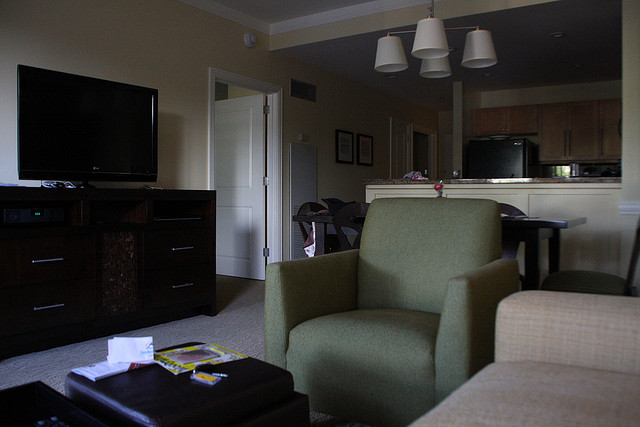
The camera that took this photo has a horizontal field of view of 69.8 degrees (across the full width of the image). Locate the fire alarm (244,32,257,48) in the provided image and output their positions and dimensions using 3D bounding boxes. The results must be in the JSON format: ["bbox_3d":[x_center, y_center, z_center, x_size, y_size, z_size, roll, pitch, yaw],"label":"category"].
[{"bbox_3d":[-0.807,-2.027,5.336,0.039,0.148,0.155,2,-2,36],"label":"fire alarm"}]

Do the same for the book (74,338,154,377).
[{"bbox_3d":[-0.779,0.562,1.835,0.162,0.075,0.197,6,10,37],"label":"book"}]

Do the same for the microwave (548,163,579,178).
[{"bbox_3d":[3.741,-0.671,6.892,0.387,0.196,0.787,2,6,13],"label":"microwave"}]

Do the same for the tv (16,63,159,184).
[{"bbox_3d":[-1.802,-0.669,3.682,1.156,0.803,0.123,6,11,3],"label":"tv"}]

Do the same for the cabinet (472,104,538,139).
[{"bbox_3d":[3.054,-1.522,7.380,0.996,0.462,0.370,5,18,41],"label":"cabinet"}]

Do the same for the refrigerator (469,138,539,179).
[{"bbox_3d":[2.759,-0.829,6.877,1.013,0.565,0.584,2,5,13],"label":"refrigerator"}]

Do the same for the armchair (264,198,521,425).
[{"bbox_3d":[0.374,0.357,2.519,1.105,1.099,1.177,0,0,34],"label":"armchair"}]
